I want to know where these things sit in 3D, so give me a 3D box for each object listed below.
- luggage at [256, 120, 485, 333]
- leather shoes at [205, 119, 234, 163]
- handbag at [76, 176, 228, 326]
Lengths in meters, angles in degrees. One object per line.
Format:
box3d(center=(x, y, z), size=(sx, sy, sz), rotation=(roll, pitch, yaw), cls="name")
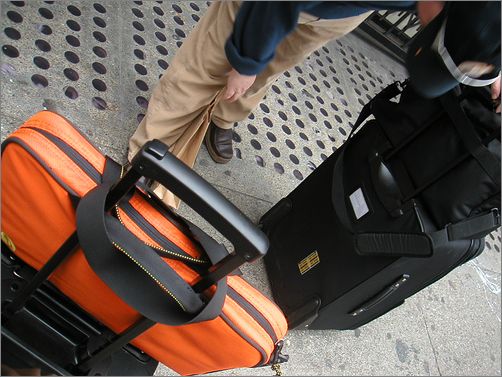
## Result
box3d(center=(0.425, 0.158, 1.402), size=(0.511, 0.890, 0.619), rotation=(6, 53, -31), cls="luggage")
box3d(center=(-0.134, -0.222, 1.768), size=(0.089, 0.082, 0.220), rotation=(-19, 81, -37), cls="leather shoes")
box3d(center=(-0.242, 0.138, 0.979), size=(0.518, 0.158, 0.292), rotation=(36, 10, 27), cls="handbag")
